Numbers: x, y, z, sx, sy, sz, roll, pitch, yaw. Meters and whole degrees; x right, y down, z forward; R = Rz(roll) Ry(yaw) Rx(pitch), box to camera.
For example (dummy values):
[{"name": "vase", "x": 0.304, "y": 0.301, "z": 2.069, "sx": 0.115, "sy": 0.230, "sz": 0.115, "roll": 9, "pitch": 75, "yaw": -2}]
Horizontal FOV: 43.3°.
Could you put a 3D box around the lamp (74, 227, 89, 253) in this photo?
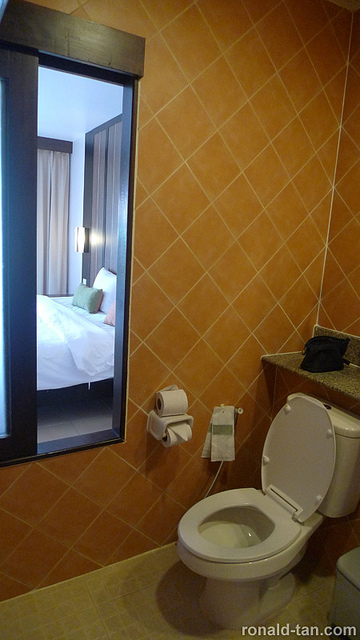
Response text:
[{"name": "lamp", "x": -1.032, "y": -0.857, "z": 4.853, "sx": 0.130, "sy": 0.256, "sz": 0.122, "roll": -2, "pitch": 13, "yaw": -24}]

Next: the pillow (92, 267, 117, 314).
[{"name": "pillow", "x": -0.664, "y": -0.250, "z": 4.021, "sx": 0.112, "sy": 0.373, "sz": 0.388, "roll": 11, "pitch": 17, "yaw": -31}]

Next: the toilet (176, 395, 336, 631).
[{"name": "toilet", "x": 0.285, "y": 0.738, "z": 1.726, "sx": 0.670, "sy": 0.813, "sz": 0.419, "roll": -8, "pitch": 17, "yaw": -43}]
